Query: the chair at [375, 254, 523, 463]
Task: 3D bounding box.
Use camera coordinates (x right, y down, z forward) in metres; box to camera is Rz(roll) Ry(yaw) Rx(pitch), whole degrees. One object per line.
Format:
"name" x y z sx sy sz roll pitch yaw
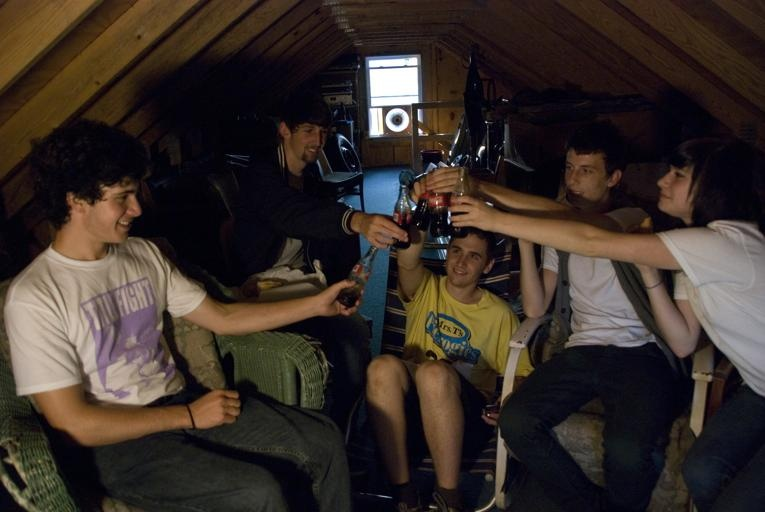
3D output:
"chair" 0.288 0.457 2.860 0.656 0.582 0.895 3 20 1

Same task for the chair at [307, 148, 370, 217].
"chair" -0.307 -0.827 6.504 0.435 0.612 0.431 4 8 -20

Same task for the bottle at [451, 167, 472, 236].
"bottle" 0.318 -0.226 2.596 0.098 0.337 0.104 -1 41 1

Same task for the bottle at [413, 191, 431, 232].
"bottle" 0.180 -0.205 2.936 0.058 0.198 0.061 7 37 -5
